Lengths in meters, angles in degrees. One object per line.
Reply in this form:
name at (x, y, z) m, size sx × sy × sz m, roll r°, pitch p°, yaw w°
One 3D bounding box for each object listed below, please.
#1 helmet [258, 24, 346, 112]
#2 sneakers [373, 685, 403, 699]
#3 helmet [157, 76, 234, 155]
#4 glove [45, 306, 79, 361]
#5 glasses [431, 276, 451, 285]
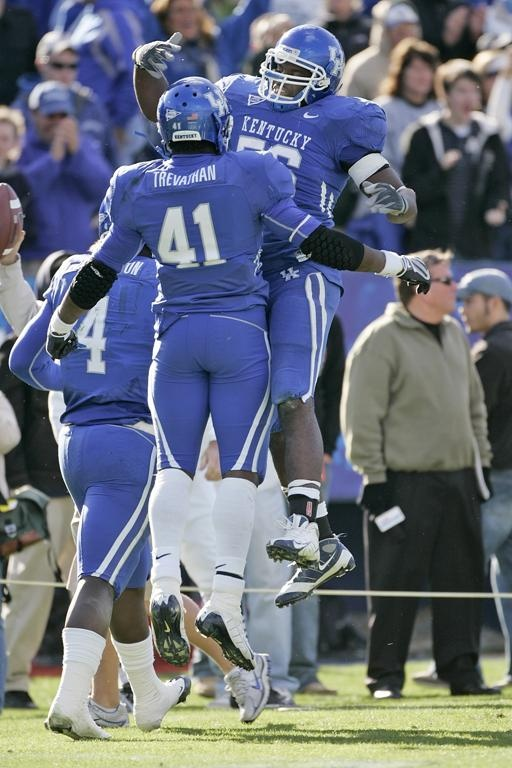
helmet at (0.174, -1.139, 4.243) m, size 0.282 × 0.258 × 0.331 m, roll 21°, pitch 25°, yaw 15°
sneakers at (0.637, 1.484, 5.759) m, size 0.173 × 0.058 × 0.049 m, roll -5°, pitch 48°, yaw -4°
helmet at (-0.206, -0.890, 3.960) m, size 0.265 × 0.236 × 0.318 m, roll -1°, pitch 16°, yaw 12°
glove at (-0.652, -0.170, 4.000) m, size 0.071 × 0.191 × 0.088 m, roll 18°, pitch 51°, yaw 18°
glasses at (0.945, -0.534, 6.057) m, size 0.085 × 0.023 × 0.078 m, roll 1°, pitch -5°, yaw 3°
